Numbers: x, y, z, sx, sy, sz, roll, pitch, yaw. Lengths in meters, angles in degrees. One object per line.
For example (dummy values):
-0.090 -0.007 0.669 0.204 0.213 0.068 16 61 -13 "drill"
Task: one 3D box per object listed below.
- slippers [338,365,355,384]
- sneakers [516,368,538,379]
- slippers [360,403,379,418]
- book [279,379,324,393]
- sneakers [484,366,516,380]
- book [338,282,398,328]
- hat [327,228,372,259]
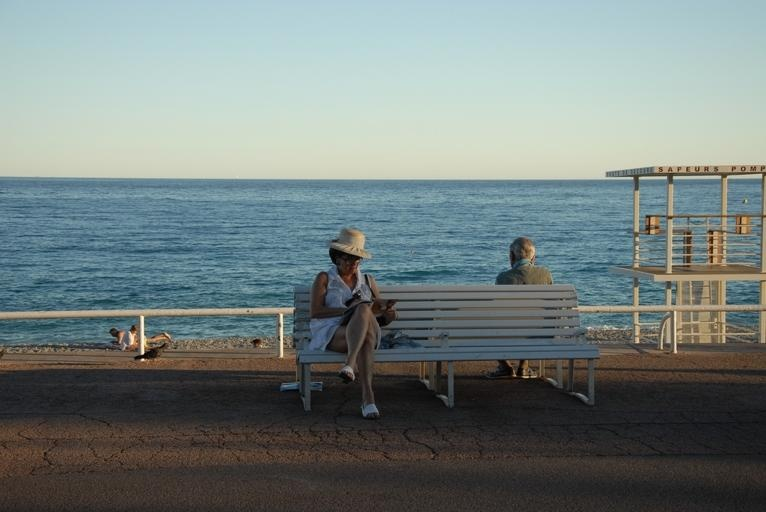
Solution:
-0.422 1.398 10.866 0.157 0.109 0.315 -4 -28 5 "slippers"
2.006 1.607 12.756 0.261 0.064 0.160 -4 8 -42 "sneakers"
-0.155 1.785 10.756 0.215 0.179 0.136 1 9 18 "slippers"
-1.029 1.646 11.736 0.478 0.060 0.333 1 0 3 "book"
1.614 1.602 12.693 0.300 0.066 0.205 0 0 -37 "sneakers"
-0.201 0.600 11.593 0.719 0.507 0.248 12 -12 -30 "book"
-0.473 -0.140 11.587 0.559 0.220 0.497 10 12 -35 "hat"
